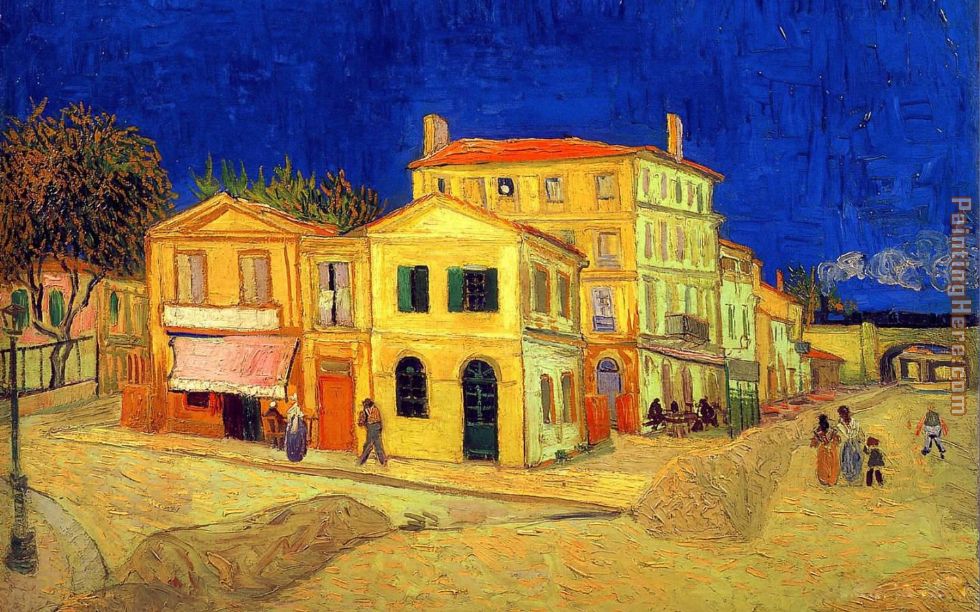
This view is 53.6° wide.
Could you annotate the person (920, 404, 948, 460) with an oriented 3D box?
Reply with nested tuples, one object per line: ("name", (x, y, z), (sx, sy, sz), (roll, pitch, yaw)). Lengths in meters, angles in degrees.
("person", (7.794, 2.149, 16.987), (0.440, 0.886, 0.299), (2, 21, 36))
